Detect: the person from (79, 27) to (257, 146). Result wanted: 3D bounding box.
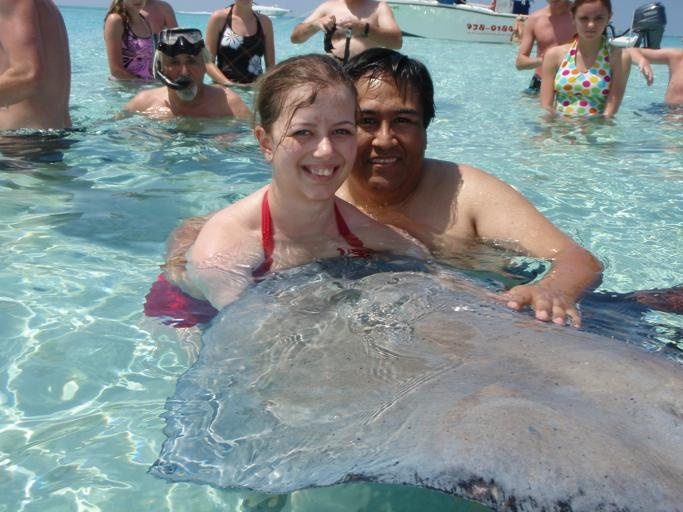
[{"bbox_3d":[-1.663,-1.836,6.706,2.330,0.765,0.765,4,20,9],"label":"person"}]

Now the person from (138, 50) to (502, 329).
[{"bbox_3d":[-0.375,-0.363,3.362,1.451,1.420,0.680,-10,24,-25],"label":"person"}]
